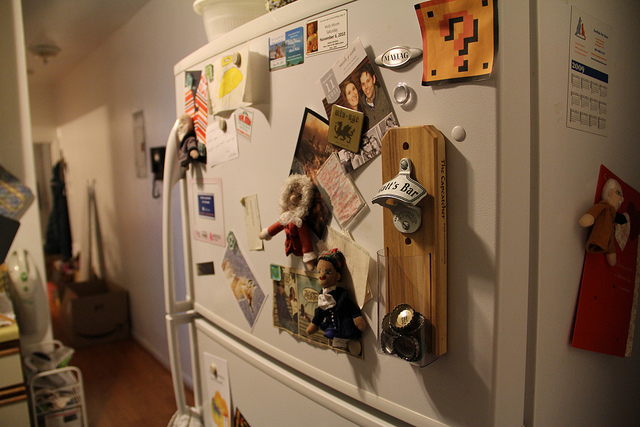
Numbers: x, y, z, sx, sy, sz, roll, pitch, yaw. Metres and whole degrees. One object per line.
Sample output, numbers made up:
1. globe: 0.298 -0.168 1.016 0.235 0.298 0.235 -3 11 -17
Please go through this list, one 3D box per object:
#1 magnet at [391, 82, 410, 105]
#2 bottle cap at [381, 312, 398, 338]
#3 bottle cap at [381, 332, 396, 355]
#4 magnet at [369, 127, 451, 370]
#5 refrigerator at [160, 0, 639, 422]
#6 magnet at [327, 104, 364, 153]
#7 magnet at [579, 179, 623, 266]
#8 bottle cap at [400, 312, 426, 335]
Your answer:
1. magnet: 0.207 -0.308 1.176 0.040 0.055 0.012 -1 5 40
2. bottle cap: 0.170 0.287 1.171 0.039 0.052 0.020 -2 -7 14
3. bottle cap: 0.173 0.334 1.177 0.043 0.046 0.009 -2 7 37
4. magnet: 0.222 0.082 1.200 0.145 0.601 0.192 -10 9 -35
5. refrigerator: 0.146 0.082 1.458 1.458 1.416 0.532 -2 4 27
6. magnet: 0.071 -0.230 1.255 0.110 0.118 0.027 19 12 29
7. magnet: 0.810 0.006 1.309 0.133 0.261 0.072 38 -26 -21
8. bottle cap: 0.232 0.268 1.124 0.012 0.046 0.049 45 11 -44
